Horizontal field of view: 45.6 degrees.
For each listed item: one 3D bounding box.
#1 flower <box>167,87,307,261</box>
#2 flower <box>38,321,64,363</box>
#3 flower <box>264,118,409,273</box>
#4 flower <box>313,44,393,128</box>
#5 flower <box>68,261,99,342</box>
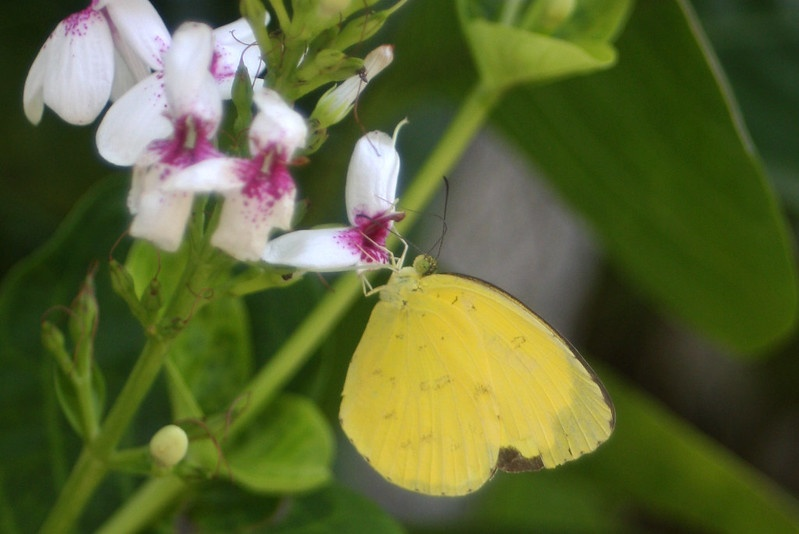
[{"bbox_3d":[-0.208,-0.117,1.128,0.114,0.206,0.155,6,5,9],"label":"flower"},{"bbox_3d":[-0.441,0.094,1.207,0.016,0.058,0.018,-19,15,10],"label":"flower"},{"bbox_3d":[-0.080,-0.091,1.207,0.085,0.204,0.169,16,18,39],"label":"flower"},{"bbox_3d":[-0.058,-0.225,1.173,0.114,0.092,0.043,-16,22,-35],"label":"flower"},{"bbox_3d":[-0.393,0.041,1.191,0.038,0.089,0.070,-4,18,-9],"label":"flower"}]
